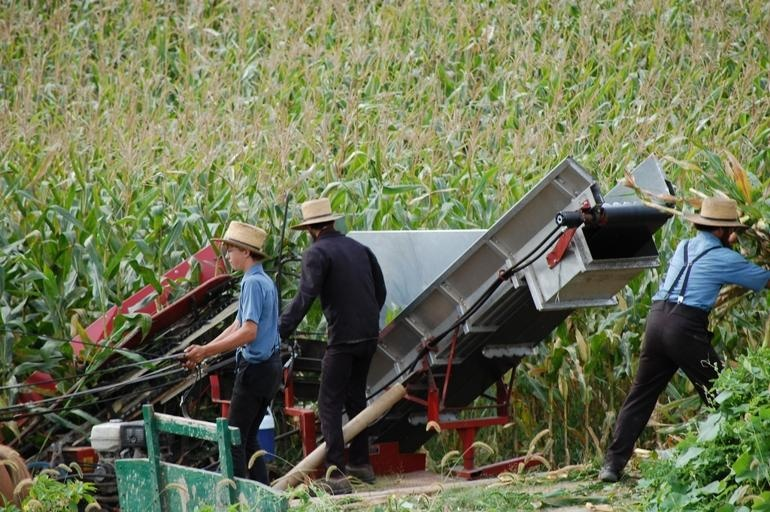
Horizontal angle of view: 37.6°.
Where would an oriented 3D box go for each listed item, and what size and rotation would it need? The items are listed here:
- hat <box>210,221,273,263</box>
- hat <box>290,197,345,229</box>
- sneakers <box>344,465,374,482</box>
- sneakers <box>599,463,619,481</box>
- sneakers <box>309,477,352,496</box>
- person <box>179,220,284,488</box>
[{"bbox_3d":[-1.465,-0.169,12.079,0.427,0.176,0.386,25,-2,-17],"label":"hat"},{"bbox_3d":[-0.798,-0.464,12.590,0.381,0.186,0.386,-19,0,-32],"label":"hat"},{"bbox_3d":[-0.251,2.384,12.475,0.376,0.181,0.140,11,-2,0],"label":"sneakers"},{"bbox_3d":[2.407,2.291,12.006,0.239,0.162,0.167,6,12,8],"label":"sneakers"},{"bbox_3d":[-0.564,2.432,11.992,0.516,0.248,0.197,5,-10,-20],"label":"sneakers"},{"bbox_3d":[-1.503,1.038,11.947,0.819,2.704,0.912,3,12,-1],"label":"person"}]
